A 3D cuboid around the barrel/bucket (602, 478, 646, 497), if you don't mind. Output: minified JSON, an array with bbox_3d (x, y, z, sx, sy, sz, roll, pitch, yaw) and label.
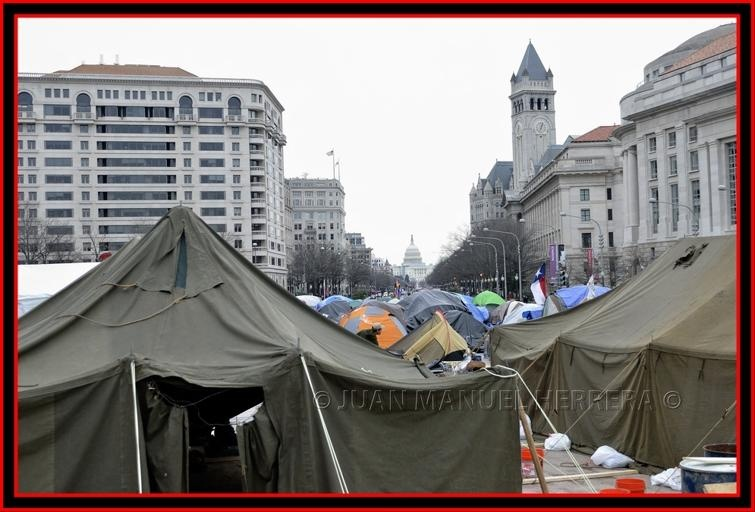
[{"bbox_3d":[5.355,5.036,21.906,0.500,0.504,0.520,0,-3,0],"label":"barrel/bucket"}]

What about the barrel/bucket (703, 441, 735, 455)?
[{"bbox_3d":[7.141,4.125,21.230,0.624,0.263,0.649,3,-4,0],"label":"barrel/bucket"}]

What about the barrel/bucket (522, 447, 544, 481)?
[{"bbox_3d":[3.587,4.849,23.618,0.707,0.699,0.702,-2,-1,0],"label":"barrel/bucket"}]

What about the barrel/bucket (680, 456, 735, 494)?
[{"bbox_3d":[6.679,4.413,20.513,0.925,0.795,0.837,2,-6,-25],"label":"barrel/bucket"}]
